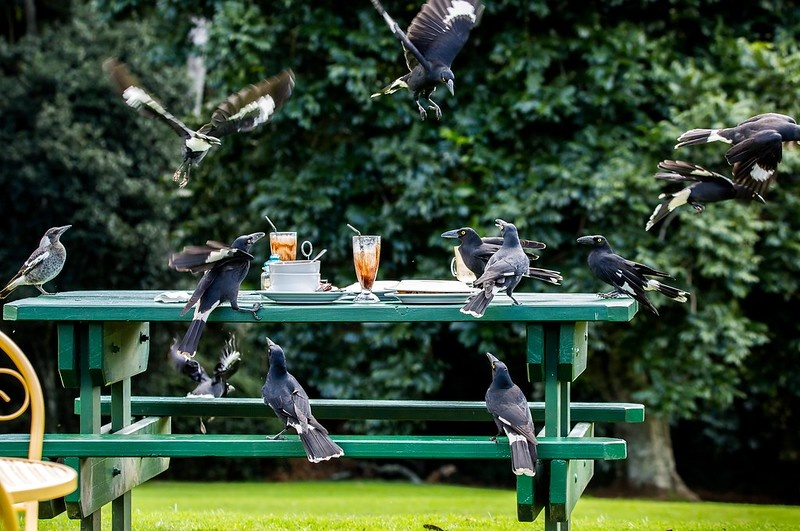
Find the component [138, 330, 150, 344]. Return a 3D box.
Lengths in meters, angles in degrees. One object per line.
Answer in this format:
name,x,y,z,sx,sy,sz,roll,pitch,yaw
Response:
component,-2.540,0.698,15.459,0.082,0.138,0.128,-2,-3,12

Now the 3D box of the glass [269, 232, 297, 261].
glass,-1.111,-0.191,14.728,0.227,0.305,0.238,0,1,1

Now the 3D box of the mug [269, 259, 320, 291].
mug,-1.006,0.095,14.583,0.316,0.240,0.313,-3,-1,10

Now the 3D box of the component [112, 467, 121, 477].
component,-2.741,1.973,15.041,0.068,0.082,0.070,2,1,0

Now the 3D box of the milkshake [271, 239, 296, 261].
milkshake,-1.105,-0.157,14.732,0.179,0.240,0.195,0,4,-14

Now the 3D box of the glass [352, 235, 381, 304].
glass,-0.330,0.025,14.719,0.246,0.626,0.335,0,-2,-3

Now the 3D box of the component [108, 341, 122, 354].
component,-2.738,0.770,14.915,0.029,0.121,0.111,-1,-1,35
